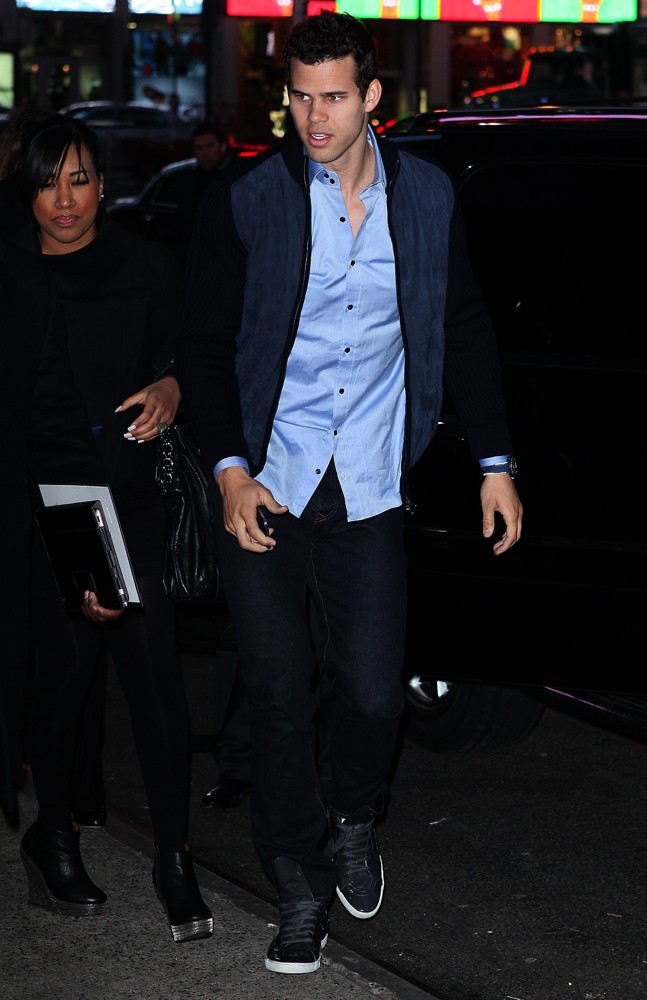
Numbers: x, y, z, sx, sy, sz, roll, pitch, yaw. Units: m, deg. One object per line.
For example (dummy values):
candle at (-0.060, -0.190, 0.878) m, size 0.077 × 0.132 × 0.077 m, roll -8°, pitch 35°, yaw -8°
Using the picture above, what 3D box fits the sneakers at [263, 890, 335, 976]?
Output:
sneakers at (-0.060, 0.857, 1.825) m, size 0.071 × 0.081 × 0.204 m, roll 0°, pitch -4°, yaw 4°

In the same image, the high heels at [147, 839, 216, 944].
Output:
high heels at (-0.306, 0.854, 2.031) m, size 0.082 × 0.150 × 0.251 m, roll -2°, pitch 7°, yaw -20°

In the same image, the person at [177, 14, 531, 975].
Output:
person at (0.029, 0.054, 1.895) m, size 0.638 × 1.854 × 0.483 m, roll 3°, pitch -3°, yaw -43°

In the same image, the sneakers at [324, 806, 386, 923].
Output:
sneakers at (0.059, 0.825, 2.162) m, size 0.101 × 0.111 × 0.286 m, roll -8°, pitch 37°, yaw -6°

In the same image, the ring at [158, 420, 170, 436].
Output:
ring at (-0.331, -0.150, 1.919) m, size 0.011 × 0.028 × 0.021 m, roll 39°, pitch 32°, yaw 26°

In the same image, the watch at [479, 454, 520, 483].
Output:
watch at (0.372, -0.070, 1.976) m, size 0.080 × 0.049 × 0.084 m, roll -2°, pitch -1°, yaw 29°
